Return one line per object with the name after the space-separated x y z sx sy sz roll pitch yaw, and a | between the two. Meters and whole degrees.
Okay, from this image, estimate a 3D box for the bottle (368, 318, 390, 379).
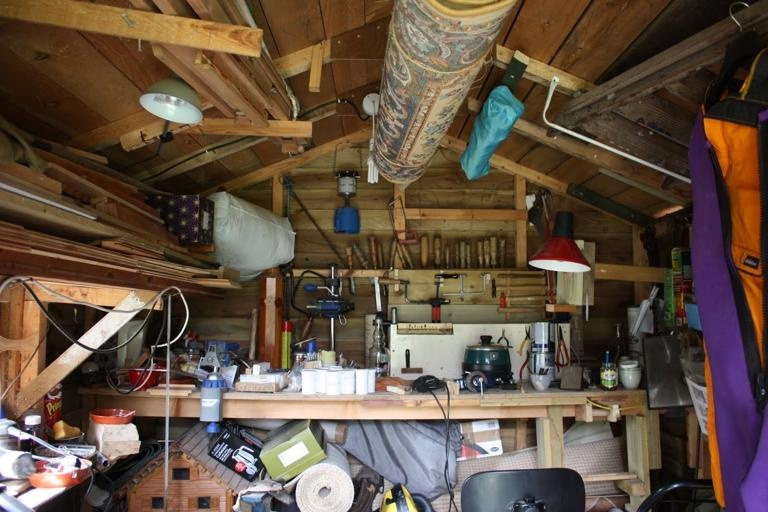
-0.047 0.771 5.001 0.178 0.505 0.342 -1 -18 -2 | bottle

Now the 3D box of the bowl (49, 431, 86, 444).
-2.070 1.172 3.798 0.100 0.093 0.164 -15 -21 38 | bowl

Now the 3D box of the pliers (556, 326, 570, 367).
1.478 0.760 4.830 0.033 0.331 0.139 2 -5 -33 | pliers

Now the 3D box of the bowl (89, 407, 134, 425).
-1.829 1.075 3.883 0.254 0.097 0.219 5 -16 -22 | bowl

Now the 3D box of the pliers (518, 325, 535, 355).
1.201 0.704 4.831 0.194 0.221 0.076 7 4 -13 | pliers

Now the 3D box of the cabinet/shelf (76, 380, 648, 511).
-0.258 1.329 4.085 4.671 0.659 0.923 2 7 3 | cabinet/shelf

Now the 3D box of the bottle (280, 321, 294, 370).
-0.833 0.790 5.107 0.136 0.427 0.127 -2 -8 0 | bottle

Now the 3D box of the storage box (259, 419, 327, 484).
-0.691 1.383 4.123 0.472 0.257 0.477 -24 0 43 | storage box

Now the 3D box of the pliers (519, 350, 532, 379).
1.171 0.911 4.850 0.107 0.249 0.131 1 -18 -6 | pliers

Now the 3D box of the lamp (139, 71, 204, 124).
-1.205 -0.938 3.362 0.349 0.137 0.315 10 -8 26 | lamp

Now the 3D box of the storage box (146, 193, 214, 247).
-1.459 -0.269 4.485 0.784 0.325 0.484 3 0 6 | storage box

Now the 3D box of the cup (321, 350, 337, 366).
-0.435 0.798 4.537 0.139 0.108 0.126 1 0 27 | cup

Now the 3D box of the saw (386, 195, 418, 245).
0.148 -0.322 5.370 0.331 0.403 0.118 -6 0 -27 | saw

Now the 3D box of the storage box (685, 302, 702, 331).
2.068 0.408 3.891 0.064 0.166 0.570 -10 -17 25 | storage box

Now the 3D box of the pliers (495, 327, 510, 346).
1.013 0.683 4.907 0.131 0.128 0.036 3 9 1 | pliers

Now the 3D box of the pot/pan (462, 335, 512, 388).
0.801 0.806 4.458 0.461 0.328 0.416 0 1 16 | pot/pan

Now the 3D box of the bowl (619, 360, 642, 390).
1.841 0.889 4.342 0.240 0.198 0.208 1 -6 14 | bowl

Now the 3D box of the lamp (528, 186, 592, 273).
1.328 -0.217 4.390 0.640 0.533 0.533 -2 -5 -4 | lamp

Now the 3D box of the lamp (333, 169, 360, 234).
-0.341 -0.513 5.355 0.259 0.593 0.329 0 -18 -5 | lamp

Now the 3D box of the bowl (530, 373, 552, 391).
1.189 0.959 4.414 0.156 0.082 0.131 1 -11 1 | bowl

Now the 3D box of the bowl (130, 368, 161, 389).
-1.731 0.893 4.212 0.227 0.147 0.185 4 -17 -18 | bowl
